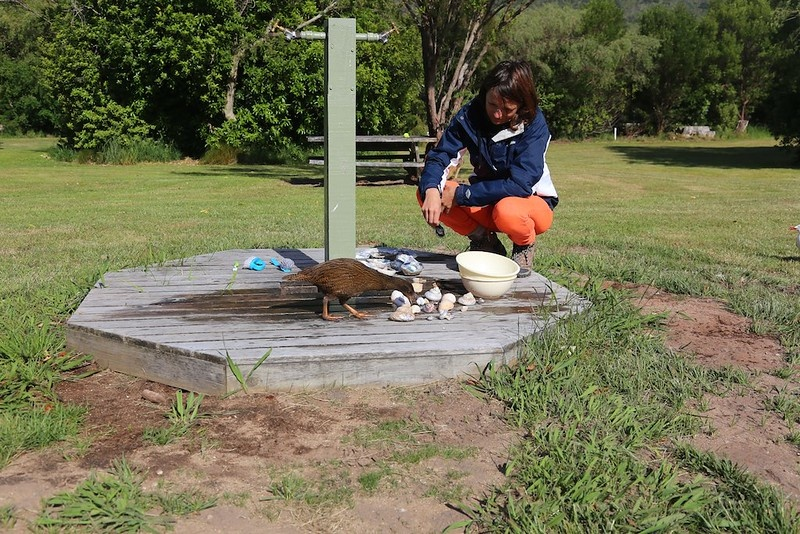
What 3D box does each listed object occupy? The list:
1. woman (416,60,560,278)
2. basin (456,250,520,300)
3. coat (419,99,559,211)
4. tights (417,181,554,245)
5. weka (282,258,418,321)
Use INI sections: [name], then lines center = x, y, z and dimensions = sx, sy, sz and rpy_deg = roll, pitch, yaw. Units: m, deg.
[woman]
center = 0.764, -0.846, 5.470
dimensions = 1.261, 1.655, 1.239
rpy_deg = 4, 18, 5
[basin]
center = 0.707, 0.071, 5.121
dimensions = 0.503, 0.299, 0.504
rpy_deg = -1, 20, 0
[coat]
center = 0.790, -0.944, 5.458
dimensions = 1.270, 0.943, 1.103
rpy_deg = -1, 23, -6
[tights]
center = 0.889, -0.427, 5.545
dimensions = 0.769, 0.299, 0.763
rpy_deg = 19, -4, 10
[weka]
center = -0.388, 0.166, 4.692
dimensions = 0.975, 0.470, 0.337
rpy_deg = 7, 7, 14
